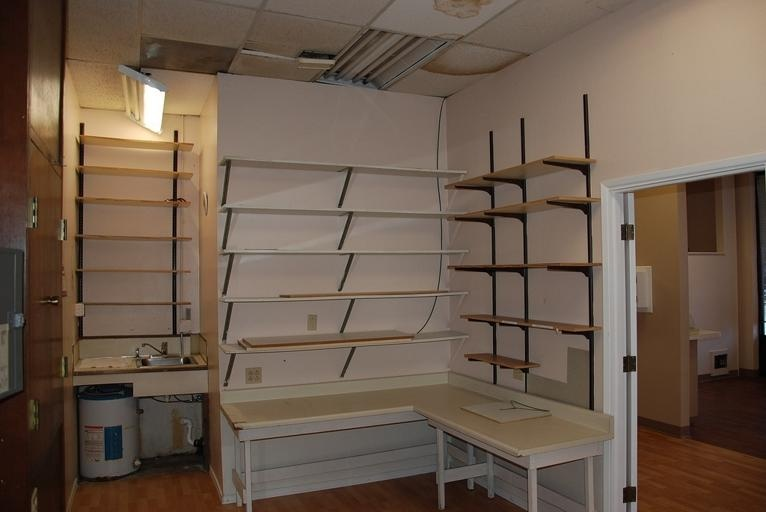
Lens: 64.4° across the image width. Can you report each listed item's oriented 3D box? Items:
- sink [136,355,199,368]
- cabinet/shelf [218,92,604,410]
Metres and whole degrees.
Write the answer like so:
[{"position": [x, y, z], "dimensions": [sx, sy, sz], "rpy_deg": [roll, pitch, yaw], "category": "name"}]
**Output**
[{"position": [-2.064, 1.010, 5.893], "dimensions": [0.641, 0.090, 0.305], "rpy_deg": [-2, -1, 2], "category": "sink"}, {"position": [0.179, -0.021, 5.229], "dimensions": [2.951, 2.628, 1.452], "rpy_deg": [1, -4, -17], "category": "cabinet/shelf"}]
